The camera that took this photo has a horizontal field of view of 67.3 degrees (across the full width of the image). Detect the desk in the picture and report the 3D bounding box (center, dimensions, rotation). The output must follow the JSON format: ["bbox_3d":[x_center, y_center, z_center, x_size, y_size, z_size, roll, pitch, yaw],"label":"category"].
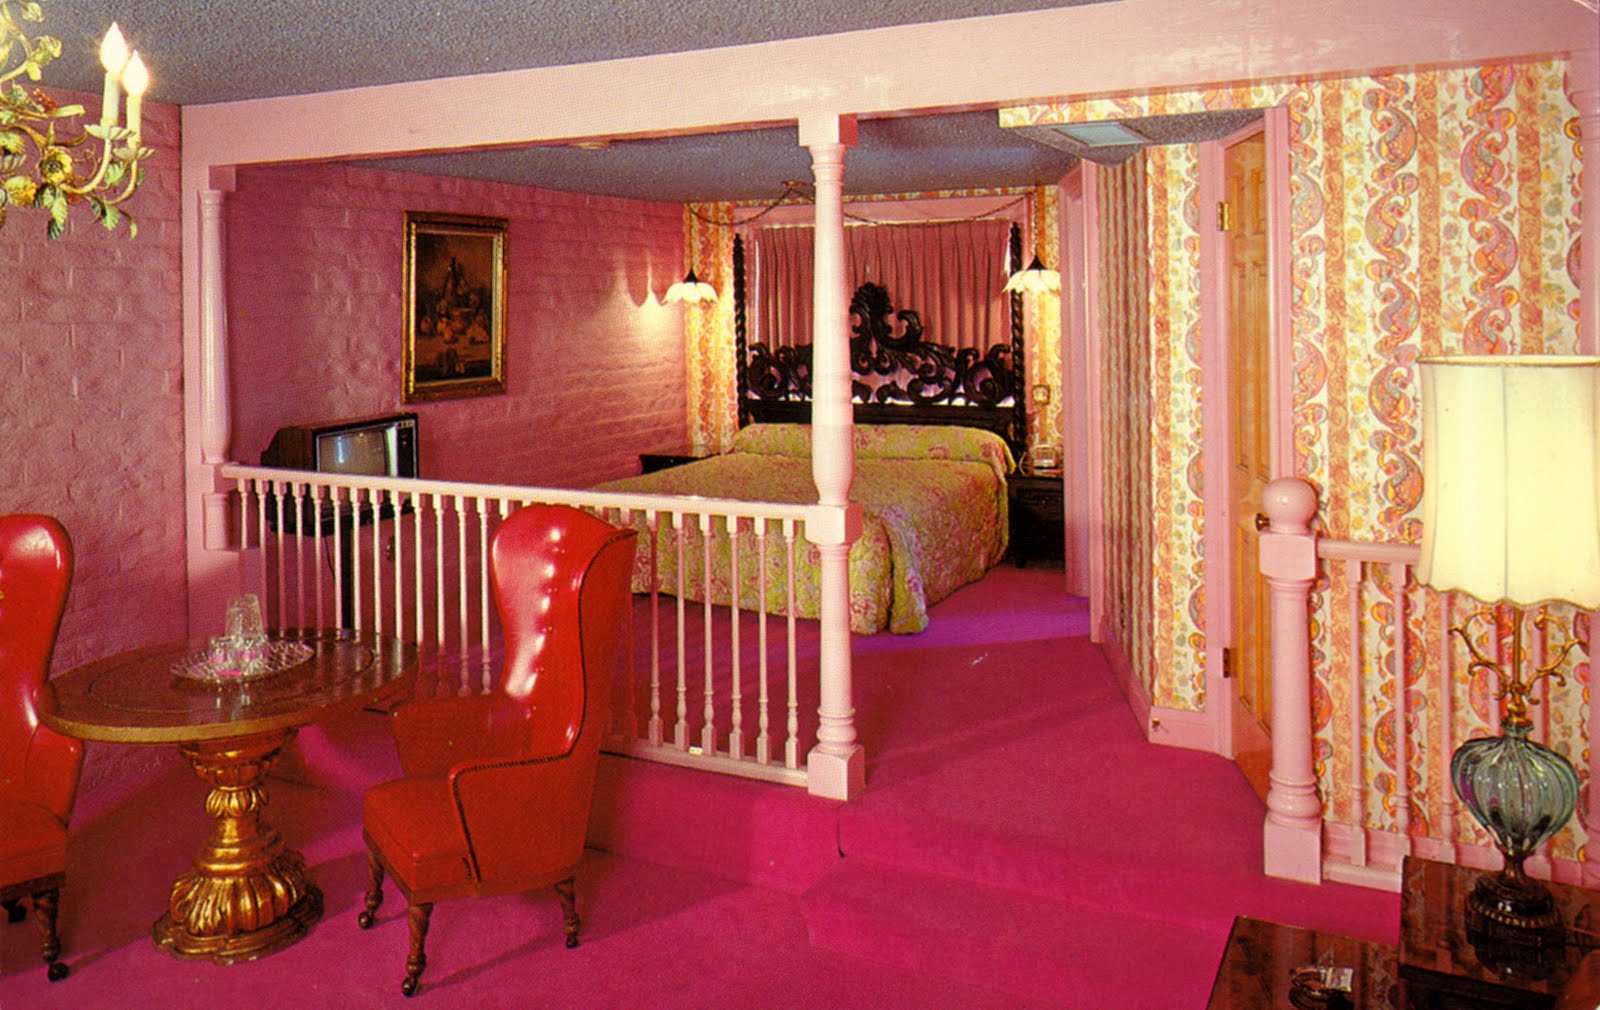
[{"bbox_3d":[-2.221,1.231,4.720,1.249,0.866,1.192,0,-4,-10],"label":"desk"}]

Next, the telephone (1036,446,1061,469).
[{"bbox_3d":[1.857,-0.340,8.904,0.180,0.169,0.114,1,-18,15],"label":"telephone"}]

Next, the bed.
[{"bbox_3d":[0.056,0.038,8.472,2.651,0.830,2.517,3,13,24],"label":"bed"}]

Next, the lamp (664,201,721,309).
[{"bbox_3d":[-0.888,-2.042,9.851,0.466,0.794,0.673,-1,9,-4],"label":"lamp"}]

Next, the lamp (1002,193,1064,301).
[{"bbox_3d":[1.732,-1.723,8.787,0.446,0.442,0.449,0,15,-2],"label":"lamp"}]
